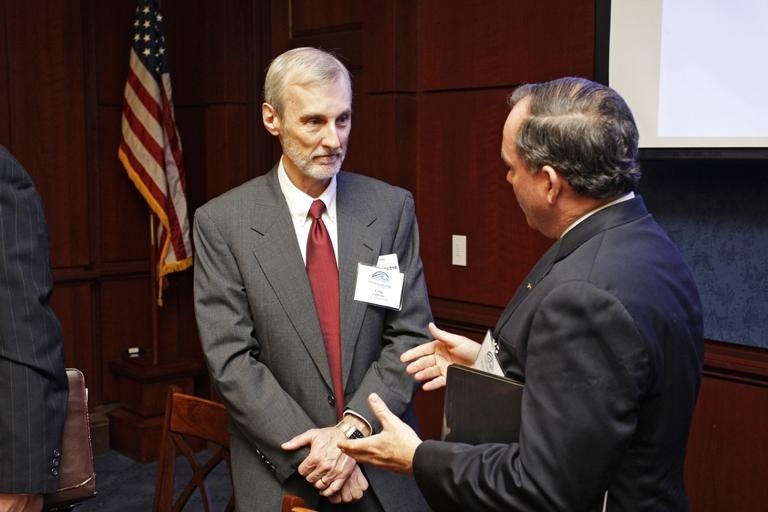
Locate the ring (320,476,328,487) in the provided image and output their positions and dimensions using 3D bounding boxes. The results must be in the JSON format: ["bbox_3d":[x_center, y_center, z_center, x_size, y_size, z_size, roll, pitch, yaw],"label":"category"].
[{"bbox_3d":[-0.188,0.711,2.016,0.021,0.029,0.006,0,5,0],"label":"ring"}]

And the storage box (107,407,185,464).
[{"bbox_3d":[-1.629,1.170,4.321,0.345,0.324,0.362,23,14,33],"label":"storage box"}]

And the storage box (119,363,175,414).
[{"bbox_3d":[-1.638,0.900,4.342,0.315,0.418,0.393,1,1,45],"label":"storage box"}]
